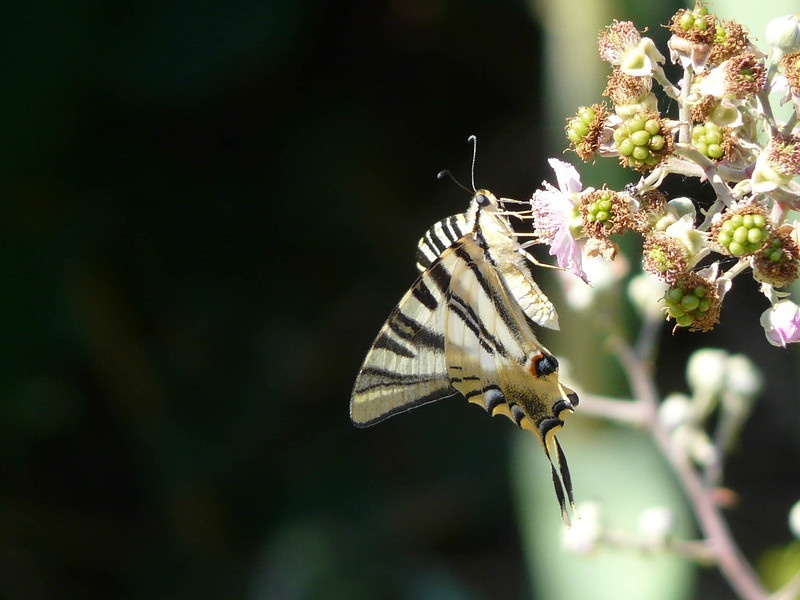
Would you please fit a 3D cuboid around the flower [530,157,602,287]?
[{"bbox_3d":[0.395,-0.199,2.308,0.113,0.251,0.254,-2,-55,-15],"label":"flower"}]
